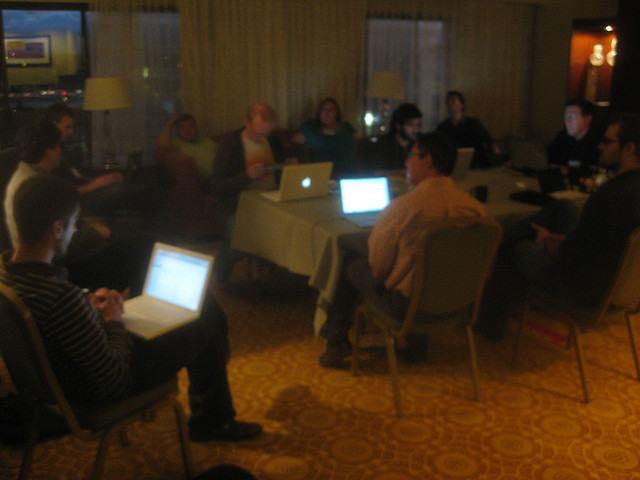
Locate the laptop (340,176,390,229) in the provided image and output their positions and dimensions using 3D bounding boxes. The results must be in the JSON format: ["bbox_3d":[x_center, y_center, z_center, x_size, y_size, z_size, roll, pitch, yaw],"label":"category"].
[{"bbox_3d":[0.343,-0.274,3.792,0.493,0.273,0.411,3,-15,15],"label":"laptop"}]

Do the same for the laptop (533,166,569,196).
[{"bbox_3d":[1.756,-0.417,4.208,0.273,0.252,0.061,-12,-2,-16],"label":"laptop"}]

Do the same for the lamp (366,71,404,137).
[{"bbox_3d":[0.790,-1.601,6.603,0.489,0.685,0.483,-2,15,-17],"label":"lamp"}]

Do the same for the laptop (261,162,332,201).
[{"bbox_3d":[-0.134,-0.417,3.944,0.463,0.286,0.323,-4,12,-19],"label":"laptop"}]

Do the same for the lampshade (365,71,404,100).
[{"bbox_3d":[0.761,-1.797,6.376,0.402,0.279,0.197,2,18,4],"label":"lampshade"}]

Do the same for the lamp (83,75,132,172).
[{"bbox_3d":[-2.071,-1.135,5.380,0.430,0.875,0.424,8,17,21],"label":"lamp"}]

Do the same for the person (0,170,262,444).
[{"bbox_3d":[-0.889,0.327,2.689,0.957,1.473,0.736,-26,46,-37],"label":"person"}]

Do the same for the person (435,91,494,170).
[{"bbox_3d":[1.606,-1.088,6.204,0.591,1.151,0.684,-6,-2,20],"label":"person"}]

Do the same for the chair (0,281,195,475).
[{"bbox_3d":[-0.869,0.565,2.113,0.630,0.887,0.295,-5,19,-17],"label":"chair"}]

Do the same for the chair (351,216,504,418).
[{"bbox_3d":[0.555,0.383,2.906,0.731,1.073,0.368,2,18,6],"label":"chair"}]

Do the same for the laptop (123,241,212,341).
[{"bbox_3d":[-0.731,0.208,2.401,0.401,0.265,0.409,14,19,38],"label":"laptop"}]
